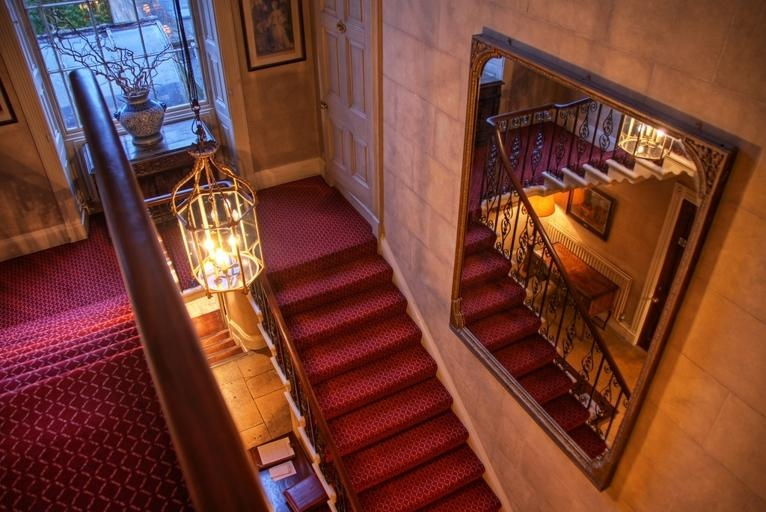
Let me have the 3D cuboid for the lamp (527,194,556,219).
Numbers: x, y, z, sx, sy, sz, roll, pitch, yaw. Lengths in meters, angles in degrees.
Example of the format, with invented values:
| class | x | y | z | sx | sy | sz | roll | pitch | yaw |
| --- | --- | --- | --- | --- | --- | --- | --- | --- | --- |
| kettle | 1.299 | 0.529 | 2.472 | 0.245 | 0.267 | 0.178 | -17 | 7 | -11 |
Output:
| class | x | y | z | sx | sy | sz | roll | pitch | yaw |
| --- | --- | --- | --- | --- | --- | --- | --- | --- | --- |
| lamp | 1.217 | -0.387 | 4.036 | 0.156 | 0.180 | 0.162 | -1 | 31 | 0 |

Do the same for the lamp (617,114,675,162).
| class | x | y | z | sx | sy | sz | roll | pitch | yaw |
| --- | --- | --- | --- | --- | --- | --- | --- | --- | --- |
| lamp | 1.592 | -0.713 | 3.247 | 0.103 | 0.199 | 0.465 | -12 | 33 | -12 |

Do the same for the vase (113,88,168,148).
| class | x | y | z | sx | sy | sz | roll | pitch | yaw |
| --- | --- | --- | --- | --- | --- | --- | --- | --- | --- |
| vase | -2.939 | -1.702 | 6.353 | 0.592 | 0.596 | 0.506 | -24 | 39 | -31 |

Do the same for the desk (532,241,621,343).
| class | x | y | z | sx | sy | sz | roll | pitch | yaw |
| --- | --- | --- | --- | --- | --- | --- | --- | --- | --- |
| desk | 1.410 | 0.257 | 4.040 | 0.250 | 0.470 | 0.723 | -16 | 36 | -15 |

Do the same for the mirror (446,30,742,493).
| class | x | y | z | sx | sy | sz | roll | pitch | yaw |
| --- | --- | --- | --- | --- | --- | --- | --- | --- | --- |
| mirror | 1.321 | 0.011 | 4.002 | 0.570 | 3.033 | 1.996 | -19 | 34 | -23 |

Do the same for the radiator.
| class | x | y | z | sx | sy | sz | roll | pitch | yaw |
| --- | --- | --- | --- | --- | --- | --- | --- | --- | --- |
| radiator | 1.440 | 0.082 | 3.614 | 0.211 | 0.382 | 0.686 | -22 | 56 | -5 |
